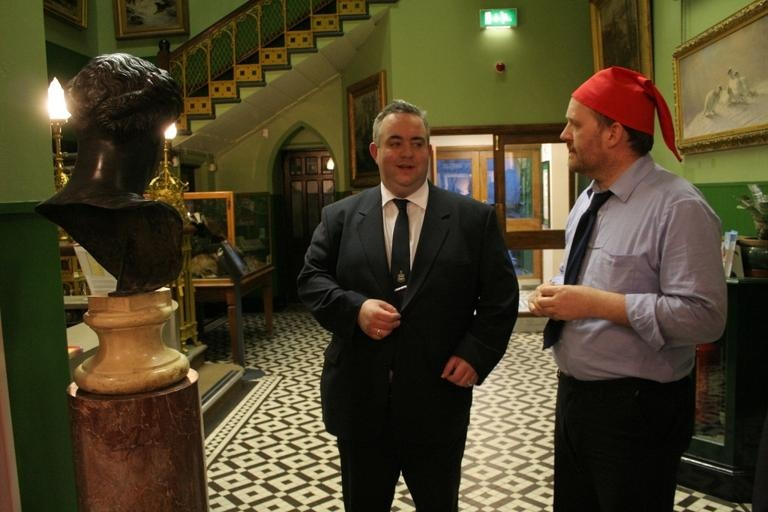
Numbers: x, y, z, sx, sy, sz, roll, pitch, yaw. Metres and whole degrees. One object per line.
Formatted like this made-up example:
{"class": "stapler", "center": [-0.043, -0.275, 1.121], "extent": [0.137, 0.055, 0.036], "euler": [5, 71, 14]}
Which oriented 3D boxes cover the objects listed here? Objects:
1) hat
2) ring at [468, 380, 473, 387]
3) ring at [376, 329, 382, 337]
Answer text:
{"class": "hat", "center": [1.126, -0.710, 2.860], "extent": [0.565, 0.340, 0.322], "euler": [20, 1, 6]}
{"class": "ring", "center": [0.414, 0.607, 2.734], "extent": [0.031, 0.029, 0.026], "euler": [3, 1, 22]}
{"class": "ring", "center": [-0.021, 0.360, 2.675], "extent": [0.029, 0.029, 0.009], "euler": [-5, -3, 31]}
